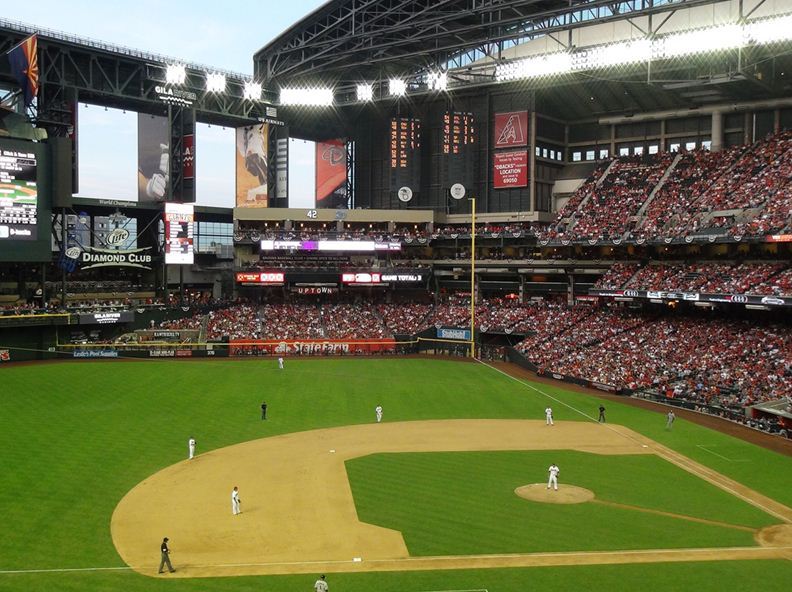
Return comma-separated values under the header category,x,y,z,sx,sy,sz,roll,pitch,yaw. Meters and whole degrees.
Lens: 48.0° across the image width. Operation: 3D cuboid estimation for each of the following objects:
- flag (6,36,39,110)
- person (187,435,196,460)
category,x,y,z,sx,sy,sz,roll,pitch,yaw
flag,-34.791,-21.328,83.934,2.189,5.912,1.382,-4,11,-24
person,-14.162,10.479,61.900,0.451,1.481,1.559,-2,10,-14
